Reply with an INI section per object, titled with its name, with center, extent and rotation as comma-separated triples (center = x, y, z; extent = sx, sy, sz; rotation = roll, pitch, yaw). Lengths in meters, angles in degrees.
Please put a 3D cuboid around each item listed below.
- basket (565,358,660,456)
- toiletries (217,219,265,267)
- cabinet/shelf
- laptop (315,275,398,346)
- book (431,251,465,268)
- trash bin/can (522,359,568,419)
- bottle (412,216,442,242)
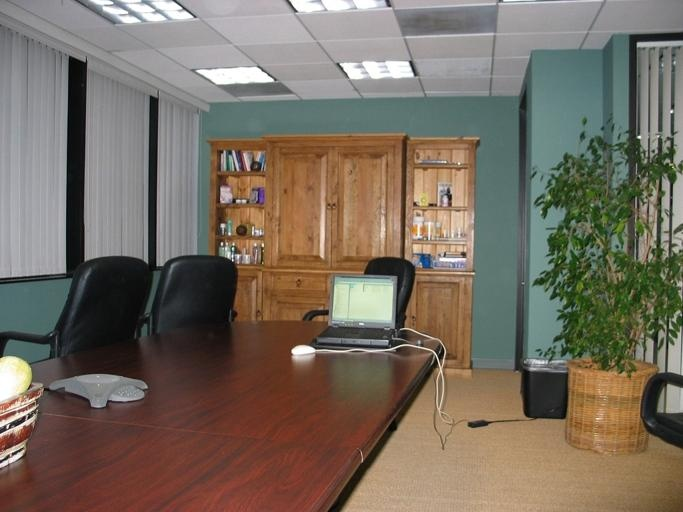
[basket]
center = 1.848, 1.047, 3.970
extent = 0.711, 0.769, 0.703
rotation = 1, -3, 1
[toiletries]
center = -1.180, -0.151, 6.198
extent = 0.522, 0.525, 0.179
rotation = 0, -8, 6
[cabinet/shelf]
center = 0.163, -0.113, 4.993
extent = 2.543, 2.389, 0.679
rotation = 0, -2, 6
[laptop]
center = 0.098, 0.267, 2.905
extent = 0.356, 0.346, 0.390
rotation = 0, -1, 15
[book]
center = 1.213, 0.037, 5.981
extent = 0.367, 0.168, 0.427
rotation = 2, 7, 8
[trash bin/can]
center = 1.629, 1.074, 4.394
extent = 0.441, 0.538, 0.442
rotation = 0, -3, 6
[bottle]
center = 0.969, -0.316, 6.051
extent = 0.322, 0.254, 0.247
rotation = 1, 0, 32
